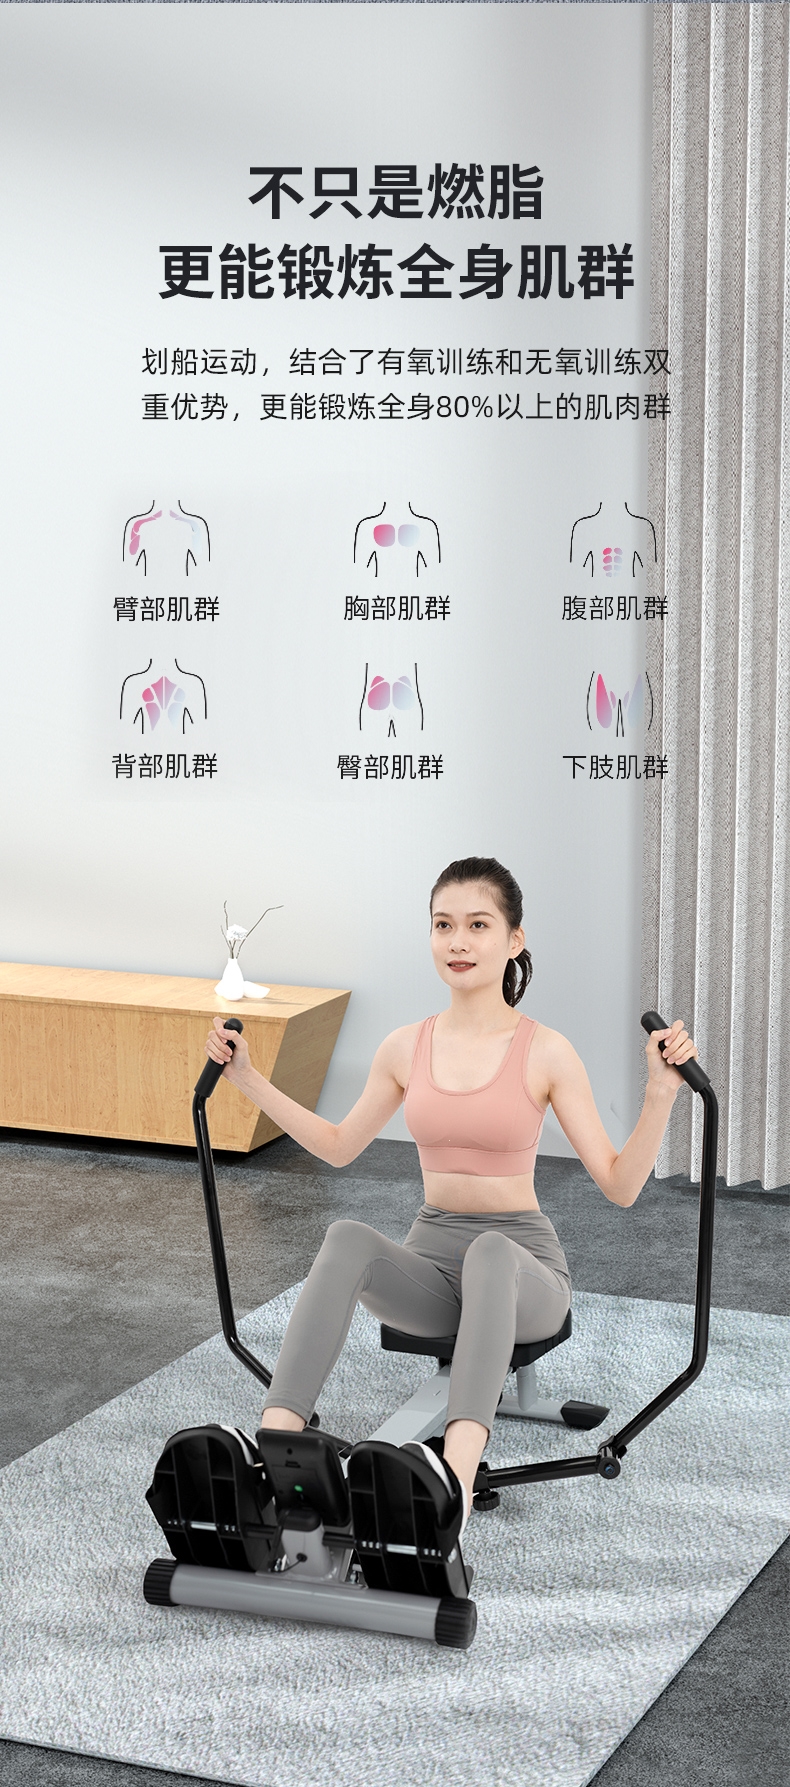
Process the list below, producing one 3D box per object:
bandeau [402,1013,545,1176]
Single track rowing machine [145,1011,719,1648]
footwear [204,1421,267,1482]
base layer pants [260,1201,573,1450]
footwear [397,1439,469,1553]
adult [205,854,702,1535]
[{"bbox_3d":[0.110,0.297,1.943,0.182,0.270,0.134,-2,-18,18],"label":"bandeau"},{"bbox_3d":[-0.050,0.381,1.700,0.590,0.773,0.708,2,17,2],"label":"Single track rowing machine"},{"bbox_3d":[-0.172,0.612,1.481,0.053,0.064,0.085,1,0,27],"label":"footwear"},{"bbox_3d":[0.055,0.471,1.719,0.220,0.211,0.435,-3,0,21],"label":"base layer pants"},{"bbox_3d":[0.041,0.622,1.404,0.054,0.114,0.116,1,0,20],"label":"footwear"},{"bbox_3d":[0.043,0.357,1.787,0.558,0.915,0.516,8,-12,-30],"label":"adult"}]
